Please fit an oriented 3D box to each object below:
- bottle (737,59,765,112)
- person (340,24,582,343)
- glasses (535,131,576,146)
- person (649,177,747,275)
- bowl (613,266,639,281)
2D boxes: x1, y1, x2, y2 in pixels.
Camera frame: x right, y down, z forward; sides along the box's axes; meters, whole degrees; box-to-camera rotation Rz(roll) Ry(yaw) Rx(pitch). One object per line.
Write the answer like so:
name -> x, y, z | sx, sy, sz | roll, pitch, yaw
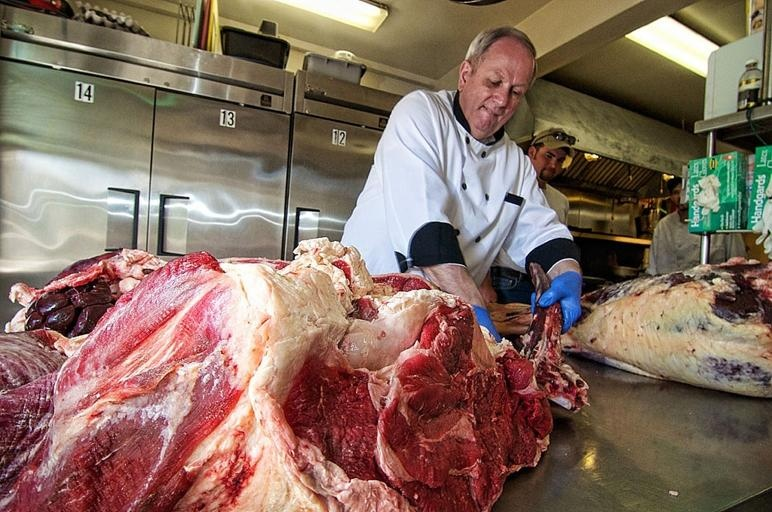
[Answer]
bottle -> 2.091, -0.964, 2.888 | 0.117, 0.304, 0.192 | -2, -4, 35
person -> 0.445, -0.403, 2.506 | 0.988, 1.495, 1.031 | 2, -4, -26
glasses -> 1.475, -1.066, 4.476 | 0.206, 0.122, 0.318 | 6, 6, -16
person -> 3.720, -0.397, 6.164 | 0.712, 1.177, 0.887 | 1, -3, 0
bowl -> 3.698, 0.248, 7.736 | 0.355, 0.195, 0.712 | -1, -4, 26
